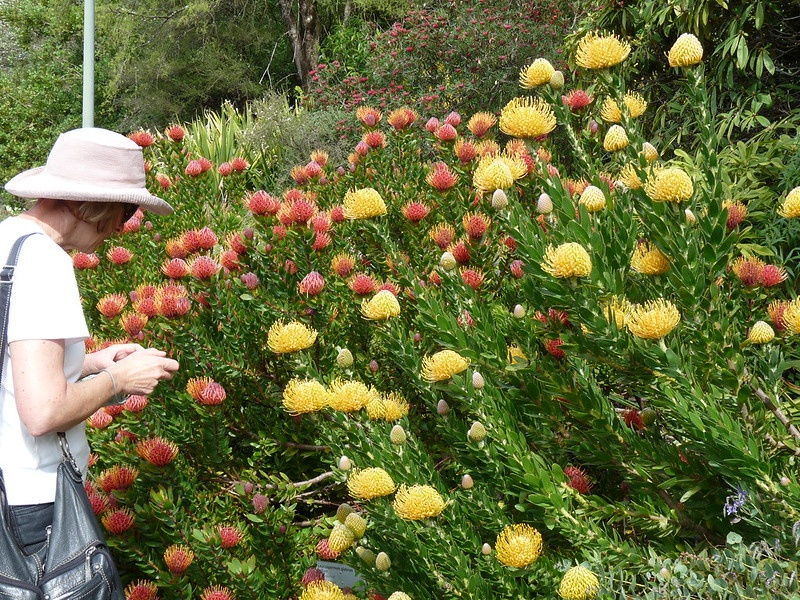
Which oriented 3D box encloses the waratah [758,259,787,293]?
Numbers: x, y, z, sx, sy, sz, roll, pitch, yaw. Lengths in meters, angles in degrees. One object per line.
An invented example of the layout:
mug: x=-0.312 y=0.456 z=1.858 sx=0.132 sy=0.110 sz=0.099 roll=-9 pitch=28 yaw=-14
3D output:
waratah: x=1.551 y=-0.115 z=3.473 sx=0.080 sy=0.109 sz=0.184 roll=17 pitch=30 yaw=31

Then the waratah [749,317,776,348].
waratah: x=1.392 y=0.144 z=3.216 sx=0.082 sy=0.058 sz=0.099 roll=-26 pitch=40 yaw=-2

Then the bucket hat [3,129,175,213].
bucket hat: x=-1.155 y=-0.491 z=3.209 sx=0.307 sy=0.181 sz=0.398 roll=6 pitch=-1 yaw=0

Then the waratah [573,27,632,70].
waratah: x=0.833 y=-1.022 z=3.406 sx=0.186 sy=0.135 sz=0.274 roll=10 pitch=28 yaw=15

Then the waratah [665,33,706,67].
waratah: x=1.122 y=-0.977 z=3.271 sx=0.112 sy=0.131 sz=0.153 roll=13 pitch=28 yaw=23

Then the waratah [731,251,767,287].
waratah: x=1.450 y=-0.118 z=3.508 sx=0.142 sy=0.175 sz=0.151 roll=0 pitch=15 yaw=37
